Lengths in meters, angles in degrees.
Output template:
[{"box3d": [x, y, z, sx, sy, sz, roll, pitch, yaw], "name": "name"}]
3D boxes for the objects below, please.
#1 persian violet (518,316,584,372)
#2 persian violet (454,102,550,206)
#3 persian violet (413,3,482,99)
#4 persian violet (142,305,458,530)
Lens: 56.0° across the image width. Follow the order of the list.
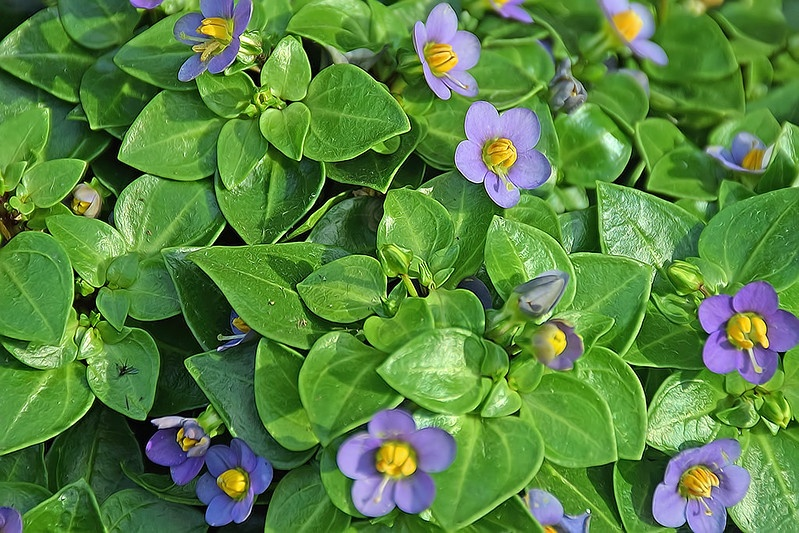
[{"box3d": [0.313, 0.159, 1.514, 0.099, 0.055, 0.096, 16, 74, 15], "name": "persian violet"}, {"box3d": [0.231, -0.256, 1.755, 0.101, 0.243, 0.241, 27, 74, 38], "name": "persian violet"}, {"box3d": [0.115, -0.515, 1.825, 0.080, 0.234, 0.200, 0, 21, 26], "name": "persian violet"}, {"box3d": [-0.219, 0.443, 1.751, 0.793, 0.204, 0.374, 1, 80, 21], "name": "persian violet"}]
